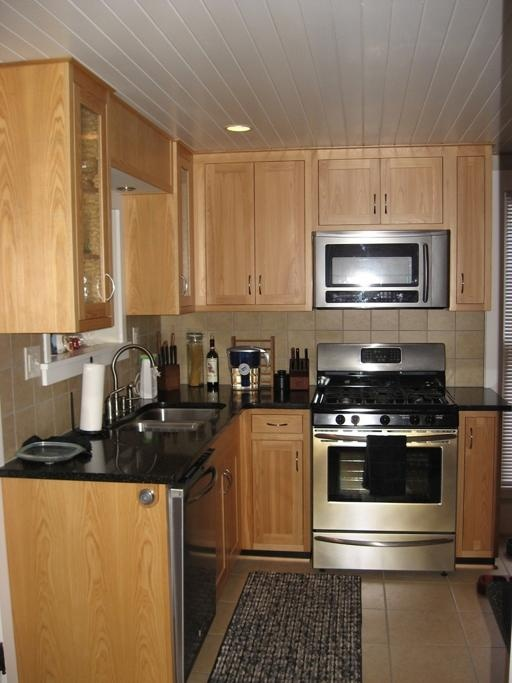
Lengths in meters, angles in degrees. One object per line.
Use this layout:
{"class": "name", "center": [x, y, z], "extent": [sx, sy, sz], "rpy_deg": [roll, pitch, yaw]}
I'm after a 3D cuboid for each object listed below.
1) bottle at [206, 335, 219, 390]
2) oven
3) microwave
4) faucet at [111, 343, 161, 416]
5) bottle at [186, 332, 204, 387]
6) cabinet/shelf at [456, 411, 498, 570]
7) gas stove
{"class": "bottle", "center": [-0.269, 0.137, 3.502], "extent": [0.069, 0.322, 0.167], "rpy_deg": [0, 3, -8]}
{"class": "oven", "center": [0.687, 0.832, 3.193], "extent": [0.754, 0.822, 0.567], "rpy_deg": [-1, 7, 6]}
{"class": "microwave", "center": [0.720, -0.353, 3.305], "extent": [0.732, 0.453, 0.444], "rpy_deg": [0, -5, 9]}
{"class": "faucet", "center": [-0.672, 0.198, 2.995], "extent": [0.328, 0.372, 0.265], "rpy_deg": [-6, 14, -39]}
{"class": "bottle", "center": [-0.396, 0.114, 3.646], "extent": [0.113, 0.342, 0.167], "rpy_deg": [0, 3, -7]}
{"class": "cabinet/shelf", "center": [1.153, 0.756, 2.963], "extent": [0.202, 0.795, 0.094], "rpy_deg": [1, 3, 16]}
{"class": "gas stove", "center": [0.682, 0.374, 3.097], "extent": [0.744, 0.146, 0.423], "rpy_deg": [1, 3, 7]}
